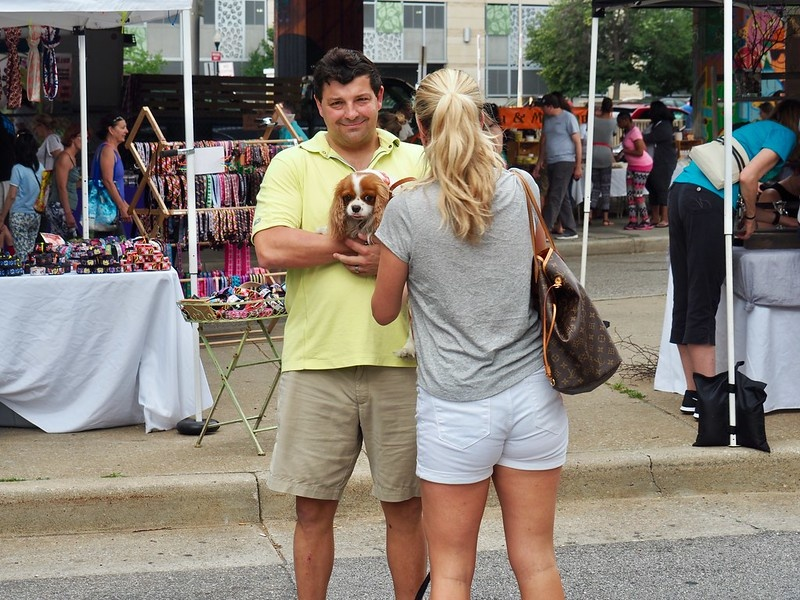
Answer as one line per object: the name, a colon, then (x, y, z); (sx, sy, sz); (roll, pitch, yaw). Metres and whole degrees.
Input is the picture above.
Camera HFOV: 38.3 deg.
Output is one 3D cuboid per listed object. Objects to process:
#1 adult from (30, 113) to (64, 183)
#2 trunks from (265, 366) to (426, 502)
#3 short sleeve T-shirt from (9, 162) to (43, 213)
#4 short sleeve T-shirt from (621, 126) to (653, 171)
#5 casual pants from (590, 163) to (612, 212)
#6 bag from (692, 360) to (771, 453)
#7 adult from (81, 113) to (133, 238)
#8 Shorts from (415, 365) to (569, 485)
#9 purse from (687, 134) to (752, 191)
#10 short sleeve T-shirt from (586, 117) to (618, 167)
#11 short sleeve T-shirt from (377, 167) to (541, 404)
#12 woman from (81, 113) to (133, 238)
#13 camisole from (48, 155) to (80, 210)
adult: (-4.492, -1.742, 14.637); (0.409, 1.143, 0.479); (2, 20, -11)
trunks: (-0.261, 0.675, 5.899); (1.031, 0.941, 0.387); (1, 1, -8)
short sleeve T-shirt: (-4.301, -1.336, 13.550); (0.485, 0.589, 0.290); (-6, 30, -25)
short sleeve T-shirt: (3.554, -2.280, 17.343); (0.463, 0.734, 0.596); (-5, 11, 6)
casual pants: (3.139, -1.710, 17.980); (0.326, 0.716, 0.234); (0, -6, 14)
bag: (2.298, 0.749, 8.018); (0.630, 0.691, 0.191); (0, -1, 10)
adult: (-3.108, -1.212, 12.379); (0.554, 1.500, 0.619); (2, 13, -4)
Shorts: (0.441, 0.635, 5.422); (0.749, 0.536, 0.515); (-3, 9, -11)
purse: (2.309, -1.016, 8.311); (0.379, 0.137, 0.374); (-27, 58, -13)
short sleeve T-shirt: (3.140, -2.389, 17.420); (0.467, 0.769, 0.488); (8, 12, 31)
short sleeve T-shirt: (0.304, -0.091, 5.421); (1.061, 1.011, 0.583); (-6, 6, -1)
woman: (-3.114, -1.214, 12.342); (0.520, 1.491, 0.604); (-1, 16, -15)
camisole: (-4.038, -1.406, 13.900); (0.329, 0.551, 0.414); (6, 0, -32)
